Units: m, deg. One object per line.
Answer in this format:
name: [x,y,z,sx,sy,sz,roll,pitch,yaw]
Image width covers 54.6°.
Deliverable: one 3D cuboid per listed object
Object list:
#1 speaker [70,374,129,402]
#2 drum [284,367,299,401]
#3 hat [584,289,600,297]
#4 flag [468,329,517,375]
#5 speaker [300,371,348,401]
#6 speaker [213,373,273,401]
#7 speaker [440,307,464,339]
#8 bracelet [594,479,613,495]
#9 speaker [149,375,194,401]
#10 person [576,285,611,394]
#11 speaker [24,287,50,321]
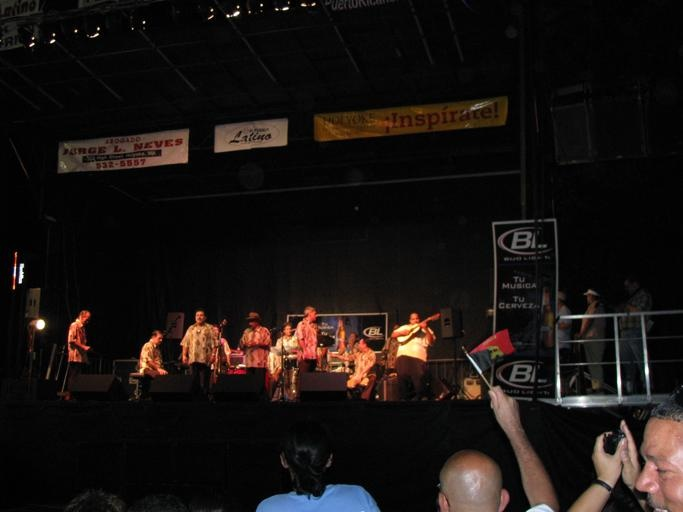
speaker: [-3.074,1.678,8.509,0.464,0.292,0.412,1,6,14]
drum: [-0.964,2.487,12.953,0.219,0.587,0.460,4,-9,-17]
hat: [4.295,0.632,11.363,0.152,0.077,0.224,4,-3,-8]
flag: [1.428,0.905,6.332,0.393,0.397,0.313,-1,-9,13]
speaker: [-0.195,1.574,8.090,0.586,0.343,0.380,0,-8,4]
speaker: [-1.220,1.475,8.122,0.574,0.362,0.342,-1,10,11]
speaker: [1.894,1.150,11.397,0.347,0.526,0.368,1,-9,2]
bracelet: [1.963,1.714,4.954,0.105,0.030,0.114,33,-1,20]
speaker: [-2.083,1.609,8.119,0.539,0.375,0.302,2,11,9]
person: [3.843,1.320,10.065,0.497,1.648,0.535,4,-42,25]
speaker: [-5.877,0.911,12.634,0.298,0.629,0.342,5,-9,-21]
